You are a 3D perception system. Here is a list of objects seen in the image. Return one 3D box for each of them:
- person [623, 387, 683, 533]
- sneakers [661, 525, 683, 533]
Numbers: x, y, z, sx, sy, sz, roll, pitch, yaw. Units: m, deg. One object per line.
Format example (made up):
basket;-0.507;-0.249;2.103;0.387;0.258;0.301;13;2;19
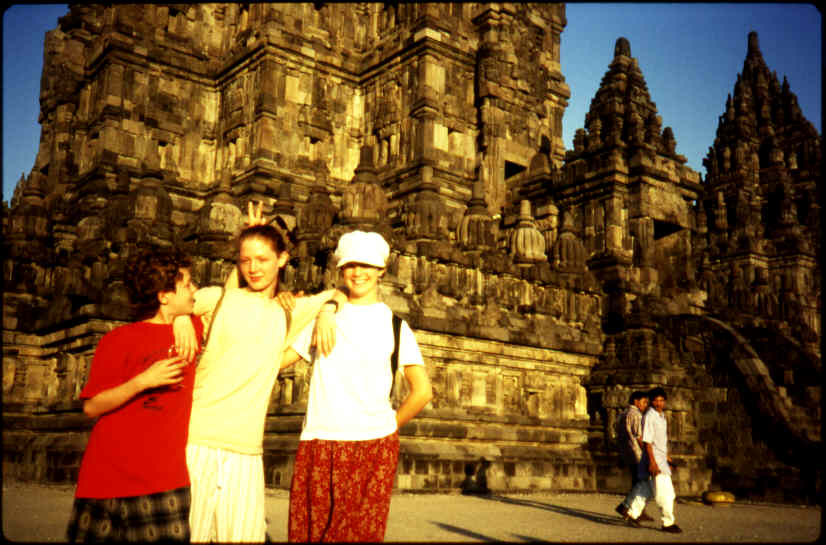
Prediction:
person;3.647;2.792;13.309;0.785;2.119;0.567;0;-10;28
sneakers;3.846;3.793;13.119;0.201;0.072;0.151;-2;-5;28
